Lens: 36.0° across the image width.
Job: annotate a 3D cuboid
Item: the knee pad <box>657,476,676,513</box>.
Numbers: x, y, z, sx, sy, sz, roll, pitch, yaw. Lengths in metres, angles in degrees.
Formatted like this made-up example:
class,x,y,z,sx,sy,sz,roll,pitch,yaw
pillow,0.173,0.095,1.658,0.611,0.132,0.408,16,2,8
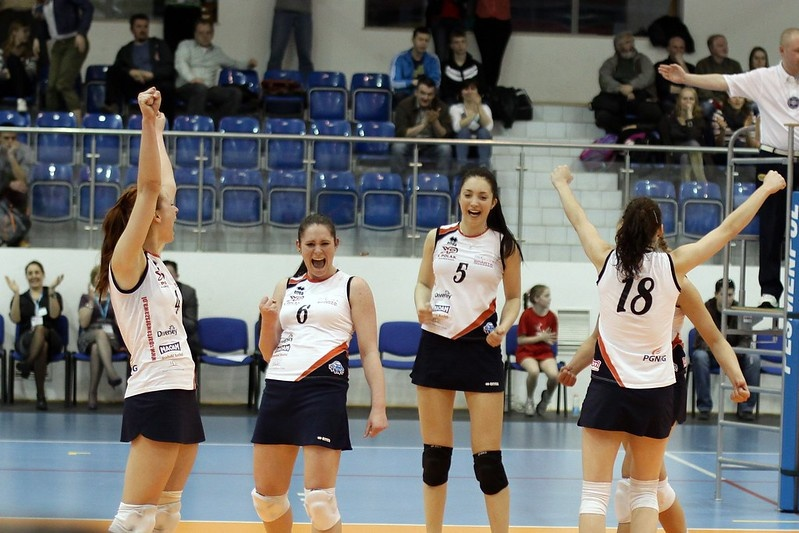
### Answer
class,x,y,z,sx,sy,sz,roll,pitch,yaw
knee pad,2.973,2.521,13.774,0.175,0.324,0.320,-7,-12,-35

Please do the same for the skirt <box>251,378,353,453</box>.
class,x,y,z,sx,sy,sz,roll,pitch,yaw
skirt,-1.023,1.660,13.550,1.134,0.906,0.728,0,-13,12

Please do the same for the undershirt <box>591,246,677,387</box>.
class,x,y,z,sx,sy,sz,roll,pitch,yaw
undershirt,2.618,0.466,13.755,0.911,1.684,0.863,1,-4,21

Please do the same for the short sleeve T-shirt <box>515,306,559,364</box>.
class,x,y,z,sx,sy,sz,roll,pitch,yaw
short sleeve T-shirt,2.235,1.123,19.792,0.676,0.925,0.464,4,0,-13

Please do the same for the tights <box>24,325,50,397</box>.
class,x,y,z,sx,sy,sz,roll,pitch,yaw
tights,-5.713,1.489,19.419,0.255,1.180,0.418,1,3,1

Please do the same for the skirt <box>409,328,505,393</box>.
class,x,y,z,sx,sy,sz,roll,pitch,yaw
skirt,0.689,1.240,14.268,1.055,1.117,0.613,3,-5,1

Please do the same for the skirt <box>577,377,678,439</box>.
class,x,y,z,sx,sy,sz,roll,pitch,yaw
skirt,2.482,1.542,13.391,1.007,0.786,0.605,4,5,4

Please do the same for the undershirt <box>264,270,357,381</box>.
class,x,y,z,sx,sy,sz,roll,pitch,yaw
undershirt,-0.991,0.645,13.545,0.939,1.505,0.749,-2,-18,23

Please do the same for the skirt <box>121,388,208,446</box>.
class,x,y,z,sx,sy,sz,roll,pitch,yaw
skirt,-2.534,1.578,13.045,0.850,0.655,0.544,0,-16,-2

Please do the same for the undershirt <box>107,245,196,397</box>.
class,x,y,z,sx,sy,sz,roll,pitch,yaw
undershirt,-2.738,0.558,13.450,0.826,1.733,0.920,-4,-6,-16

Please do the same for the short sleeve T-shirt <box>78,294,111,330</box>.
class,x,y,z,sx,sy,sz,roll,pitch,yaw
short sleeve T-shirt,-4.746,0.693,19.126,0.488,0.517,0.281,3,-11,-21

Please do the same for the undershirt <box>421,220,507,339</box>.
class,x,y,z,sx,sy,sz,roll,pitch,yaw
undershirt,0.752,0.180,14.346,0.806,1.486,0.703,6,-13,12
